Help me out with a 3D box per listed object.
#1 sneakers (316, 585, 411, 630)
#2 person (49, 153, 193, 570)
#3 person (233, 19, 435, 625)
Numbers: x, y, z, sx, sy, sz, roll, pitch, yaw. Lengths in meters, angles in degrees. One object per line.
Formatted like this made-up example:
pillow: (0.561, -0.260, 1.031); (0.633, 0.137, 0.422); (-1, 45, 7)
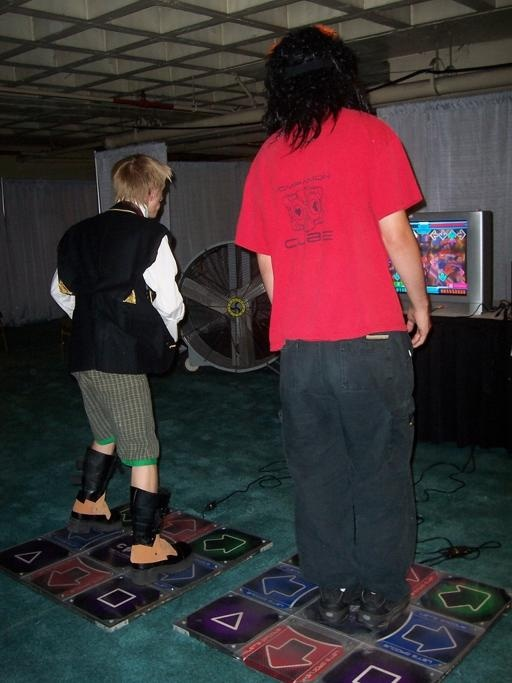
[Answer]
sneakers: (0.382, 0.981, 1.991); (0.180, 0.106, 0.286); (6, 11, 38)
person: (-0.616, 0.122, 2.546); (0.478, 1.922, 0.670); (-13, 14, -37)
person: (0.256, 0.054, 1.793); (0.594, 2.025, 0.340); (-1, 12, 16)
